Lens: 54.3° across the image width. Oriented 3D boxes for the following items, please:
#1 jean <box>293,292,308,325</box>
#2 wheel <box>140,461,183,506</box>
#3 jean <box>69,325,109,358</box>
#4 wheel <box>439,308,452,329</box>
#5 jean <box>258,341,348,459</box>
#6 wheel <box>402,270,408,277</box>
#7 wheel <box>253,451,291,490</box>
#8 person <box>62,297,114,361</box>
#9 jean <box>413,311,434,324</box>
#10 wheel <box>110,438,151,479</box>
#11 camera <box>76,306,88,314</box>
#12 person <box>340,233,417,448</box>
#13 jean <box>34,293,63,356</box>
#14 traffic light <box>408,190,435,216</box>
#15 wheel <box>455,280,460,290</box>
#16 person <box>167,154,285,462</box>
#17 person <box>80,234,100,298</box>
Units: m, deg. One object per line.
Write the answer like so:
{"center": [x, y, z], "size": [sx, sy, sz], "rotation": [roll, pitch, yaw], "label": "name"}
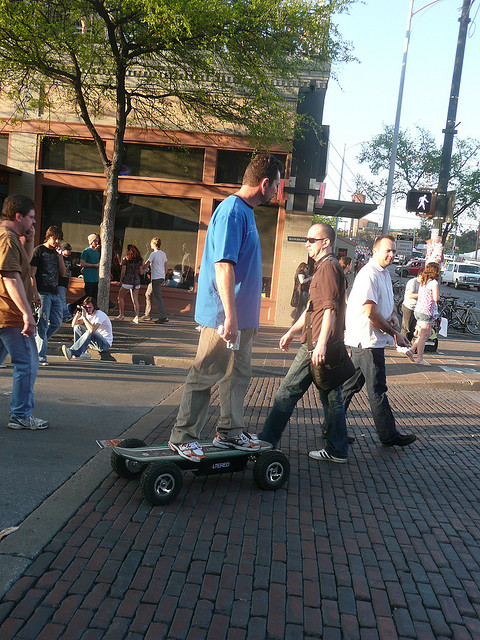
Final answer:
{"center": [1.655, -0.366, 12.787], "size": [0.274, 0.755, 1.215], "rotation": [5, 2, 5], "label": "jean"}
{"center": [-0.465, 0.967, 2.773], "size": [0.237, 0.232, 0.075], "rotation": [16, -2, -38], "label": "wheel"}
{"center": [-2.602, 0.382, 8.161], "size": [0.620, 0.401, 0.532], "rotation": [5, 2, -16], "label": "jean"}
{"center": [7.796, -0.105, 17.719], "size": [0.468, 0.797, 0.352], "rotation": [5, 2, 2], "label": "wheel"}
{"center": [0.547, 0.639, 3.774], "size": [0.824, 0.877, 0.356], "rotation": [4, 2, -35], "label": "jean"}
{"center": [16.189, -4.631, 46.048], "size": [0.487, 0.678, 0.348], "rotation": [6, 2, 16], "label": "wheel"}
{"center": [0.204, 1.028, 3.185], "size": [0.250, 0.246, 0.085], "rotation": [-19, 16, -40], "label": "wheel"}
{"center": [-2.640, 0.138, 8.187], "size": [0.755, 0.788, 0.693], "rotation": [5, 2, -18], "label": "person"}
{"center": [3.879, -0.071, 9.956], "size": [0.258, 0.261, 0.361], "rotation": [-5, 14, -22], "label": "jean"}
{"center": [-0.750, 0.953, 3.127], "size": [0.218, 0.201, 0.270], "rotation": [5, 2, -15], "label": "wheel"}
{"center": [-2.800, -0.208, 8.363], "size": [0.220, 0.091, 0.198], "rotation": [-10, 17, -33], "label": "camera"}
{"center": [1.347, 0.194, 4.504], "size": [0.770, 1.971, 0.510], "rotation": [6, 2, 32], "label": "person"}
{"center": [-3.141, 0.052, 7.587], "size": [0.328, 0.678, 0.629], "rotation": [5, 2, -5], "label": "jean"}
{"center": [4.033, -2.686, 10.498], "size": [0.552, 0.579, 0.304], "rotation": [6, 2, 16], "label": "traffic light"}
{"center": [17.917, -2.955, 38.683], "size": [0.320, 0.820, 0.857], "rotation": [6, 2, 25], "label": "wheel"}
{"center": [-0.055, -0.117, 3.082], "size": [0.619, 1.682, 0.473], "rotation": [4, 2, -33], "label": "person"}
{"center": [-3.760, -1.400, 11.761], "size": [0.444, 1.132, 0.504], "rotation": [4, 2, -20], "label": "person"}
